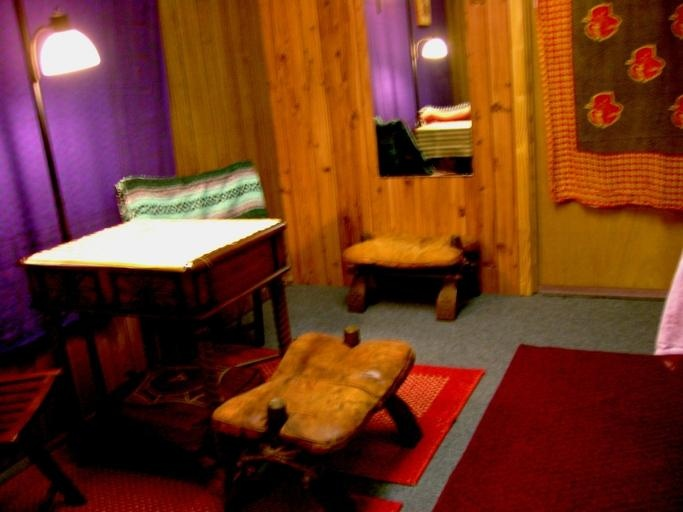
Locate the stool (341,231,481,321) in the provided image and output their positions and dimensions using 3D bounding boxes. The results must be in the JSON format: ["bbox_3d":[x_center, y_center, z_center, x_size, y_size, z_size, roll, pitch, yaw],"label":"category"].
[{"bbox_3d":[0.479,0.100,3.877,0.896,0.541,0.496,5,20,25],"label":"stool"}]

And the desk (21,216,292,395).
[{"bbox_3d":[-0.814,0.102,2.649,0.886,0.558,0.655,1,15,19],"label":"desk"}]
